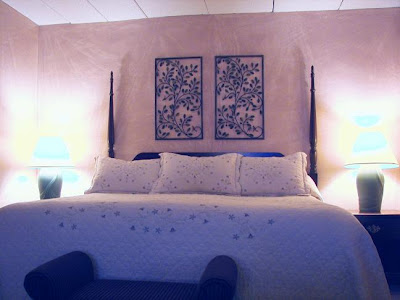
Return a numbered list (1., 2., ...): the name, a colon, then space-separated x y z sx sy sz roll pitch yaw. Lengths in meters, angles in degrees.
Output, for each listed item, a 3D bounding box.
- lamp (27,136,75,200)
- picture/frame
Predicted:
1. lamp: -1.789 0.224 4.637 0.633 1.105 0.642 1 -6 -22
2. picture/frame: 0.170 -0.624 4.532 0.985 0.803 0.035 -1 -3 1
